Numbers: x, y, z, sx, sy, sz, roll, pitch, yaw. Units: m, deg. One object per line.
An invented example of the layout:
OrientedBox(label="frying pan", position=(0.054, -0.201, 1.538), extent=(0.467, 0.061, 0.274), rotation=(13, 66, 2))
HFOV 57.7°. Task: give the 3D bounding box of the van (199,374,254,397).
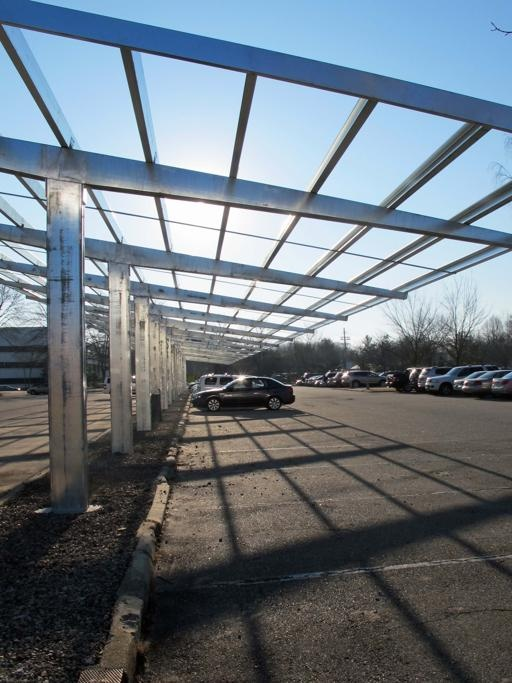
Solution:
OrientedBox(label="van", position=(-2.150, 2.170, 24.721), extent=(2.155, 1.070, 1.272), rotation=(-3, -5, -3))

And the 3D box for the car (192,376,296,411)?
OrientedBox(label="car", position=(-0.639, 2.352, 20.683), extent=(4.061, 1.381, 1.756), rotation=(2, -12, 1))

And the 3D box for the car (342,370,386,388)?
OrientedBox(label="car", position=(10.752, 3.781, 46.977), extent=(3.374, 1.405, 1.741), rotation=(-3, -7, 6))
